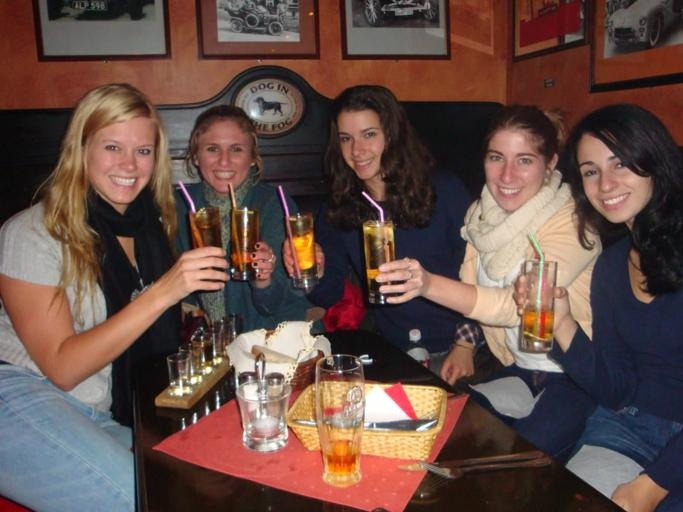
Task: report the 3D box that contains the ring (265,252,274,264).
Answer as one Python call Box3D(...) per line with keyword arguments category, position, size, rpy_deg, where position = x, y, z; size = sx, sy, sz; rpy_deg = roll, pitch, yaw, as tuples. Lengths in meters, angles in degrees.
Box3D(category="ring", position=(-0.357, 0.008, 2.822), size=(0.025, 0.041, 0.041), rpy_deg=(-2, 42, 7))

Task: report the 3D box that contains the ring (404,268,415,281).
Box3D(category="ring", position=(0.284, 0.081, 2.360), size=(0.036, 0.039, 0.034), rpy_deg=(3, 1, 0))

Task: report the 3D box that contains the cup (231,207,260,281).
Box3D(category="cup", position=(-0.445, -0.050, 2.597), size=(0.124, 0.358, 0.128), rpy_deg=(-3, 13, 1))

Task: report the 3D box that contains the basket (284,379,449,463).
Box3D(category="basket", position=(0.093, 0.553, 1.849), size=(0.369, 0.097, 0.263), rpy_deg=(2, 17, 6))

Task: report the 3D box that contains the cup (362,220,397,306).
Box3D(category="cup", position=(0.164, 0.038, 2.409), size=(0.122, 0.395, 0.185), rpy_deg=(-2, 13, 4))

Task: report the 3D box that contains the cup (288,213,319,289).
Box3D(category="cup", position=(-0.183, -0.010, 2.679), size=(0.119, 0.412, 0.234), rpy_deg=(-4, 13, -4))

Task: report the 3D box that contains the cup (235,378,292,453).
Box3D(category="cup", position=(-0.229, 0.522, 1.909), size=(0.206, 0.223, 0.203), rpy_deg=(-1, 6, 0))
